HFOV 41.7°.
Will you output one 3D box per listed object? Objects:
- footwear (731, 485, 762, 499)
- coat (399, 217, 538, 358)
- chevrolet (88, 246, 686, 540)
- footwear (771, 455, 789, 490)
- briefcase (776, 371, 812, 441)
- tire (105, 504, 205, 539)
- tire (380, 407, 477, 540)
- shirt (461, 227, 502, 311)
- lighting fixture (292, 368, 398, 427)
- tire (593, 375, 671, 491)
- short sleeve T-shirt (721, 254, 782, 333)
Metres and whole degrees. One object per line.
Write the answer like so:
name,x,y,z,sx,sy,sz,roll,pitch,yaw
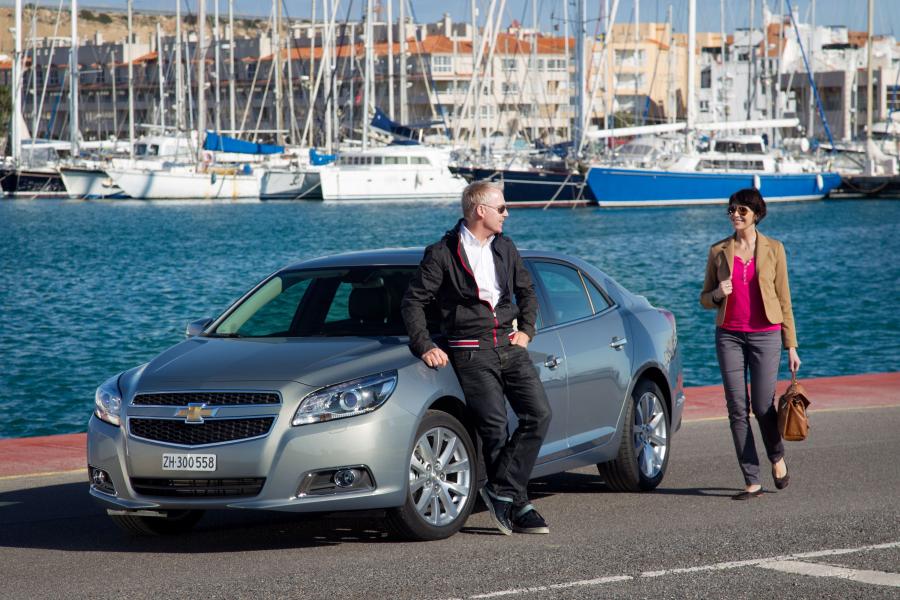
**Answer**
footwear,2.654,1.670,10.342,0.293,0.117,0.107,-6,3,-33
coat,0.206,-0.089,9.459,1.211,1.146,0.540,-1,-3,-30
chevrolet,-0.310,0.705,10.226,5.573,2.271,2.196,-4,5,-32
footwear,2.990,1.504,10.467,0.114,0.366,0.108,-1,-1,22
briefcase,3.030,0.960,10.221,0.259,0.531,0.344,0,4,16
tire,-2.469,1.822,9.567,0.436,0.155,0.455,0,3,2
tire,-0.177,1.383,9.269,0.272,0.969,0.919,-8,-12,44
shirt,0.218,-0.257,9.369,0.298,0.568,0.288,-21,8,0
lighting fixture,-0.812,0.760,8.832,0.543,0.209,0.396,-29,-11,38
tire,1.637,1.200,10.577,0.329,1.079,1.029,-5,-1,35
short sleeve T-shirt,2.704,-0.089,10.401,0.514,0.730,0.374,-4,-7,29
